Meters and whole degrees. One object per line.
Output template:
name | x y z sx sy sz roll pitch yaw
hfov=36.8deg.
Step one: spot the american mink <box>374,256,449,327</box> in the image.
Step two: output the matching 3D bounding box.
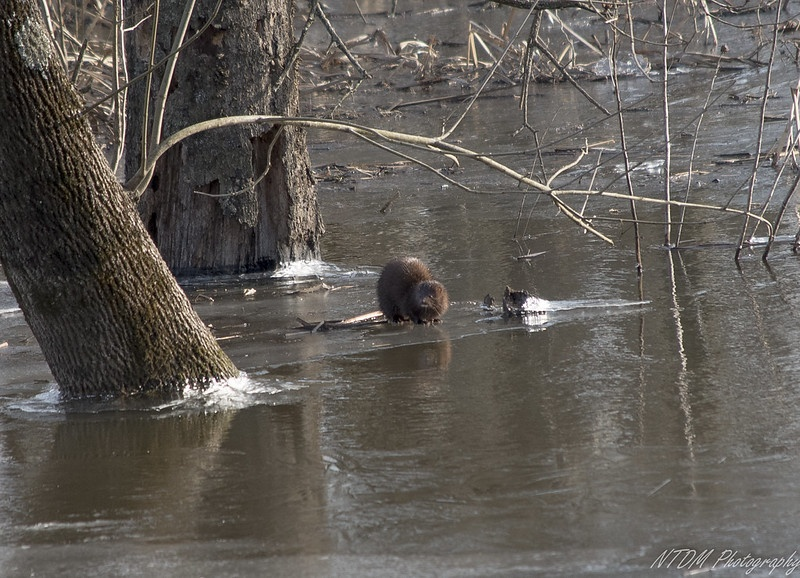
american mink | 0.123 0.008 10.613 0.455 0.553 0.697 -10 7 -31
